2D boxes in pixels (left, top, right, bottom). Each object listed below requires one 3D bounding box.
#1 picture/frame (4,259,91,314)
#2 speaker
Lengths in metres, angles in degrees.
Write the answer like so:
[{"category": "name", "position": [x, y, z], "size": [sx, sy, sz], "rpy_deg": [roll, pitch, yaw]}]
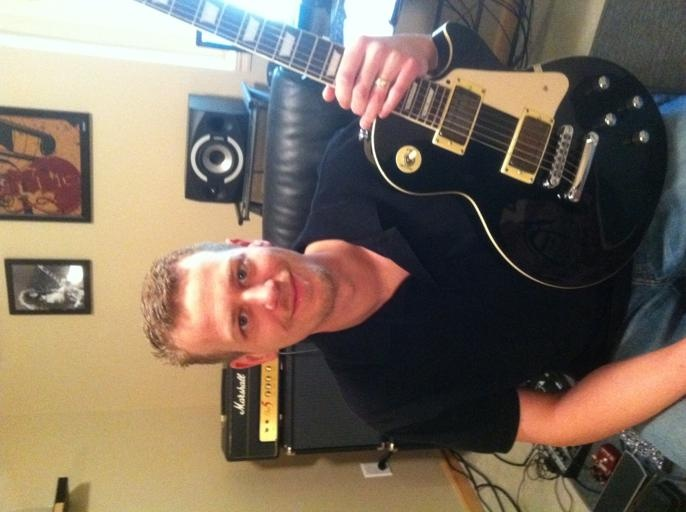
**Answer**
[{"category": "picture/frame", "position": [-2.107, 0.204, 4.028], "size": [0.336, 0.317, 0.029], "rpy_deg": [-3, 4, -8]}, {"category": "speaker", "position": [-0.836, -0.695, 3.800], "size": [0.424, 0.673, 0.202], "rpy_deg": [0, 13, -8]}]
